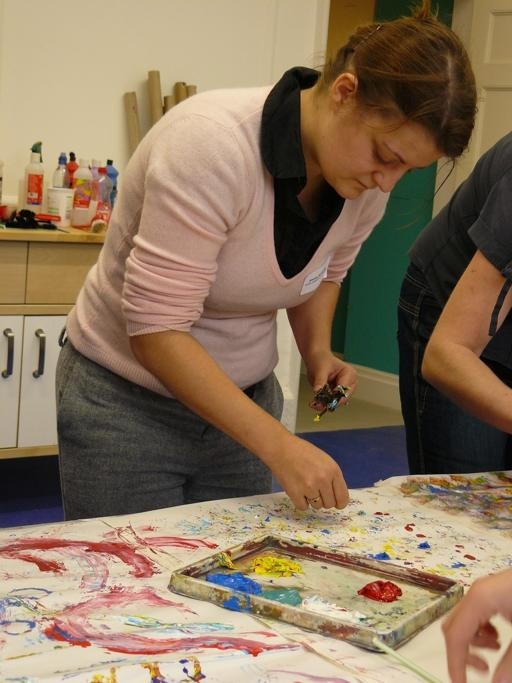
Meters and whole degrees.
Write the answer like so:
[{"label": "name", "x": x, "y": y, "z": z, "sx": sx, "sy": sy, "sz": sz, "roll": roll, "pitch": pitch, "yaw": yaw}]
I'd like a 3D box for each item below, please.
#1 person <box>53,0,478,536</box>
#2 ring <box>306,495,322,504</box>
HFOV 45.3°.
[{"label": "person", "x": -0.035, "y": -0.079, "z": 1.036, "sx": 0.528, "sy": 0.901, "sz": 0.522, "roll": 6, "pitch": 4, "yaw": -18}, {"label": "ring", "x": 0.096, "y": 0.251, "z": 0.978, "sx": 0.019, "sy": 0.011, "sz": 0.023, "roll": 0, "pitch": 10, "yaw": -4}]
